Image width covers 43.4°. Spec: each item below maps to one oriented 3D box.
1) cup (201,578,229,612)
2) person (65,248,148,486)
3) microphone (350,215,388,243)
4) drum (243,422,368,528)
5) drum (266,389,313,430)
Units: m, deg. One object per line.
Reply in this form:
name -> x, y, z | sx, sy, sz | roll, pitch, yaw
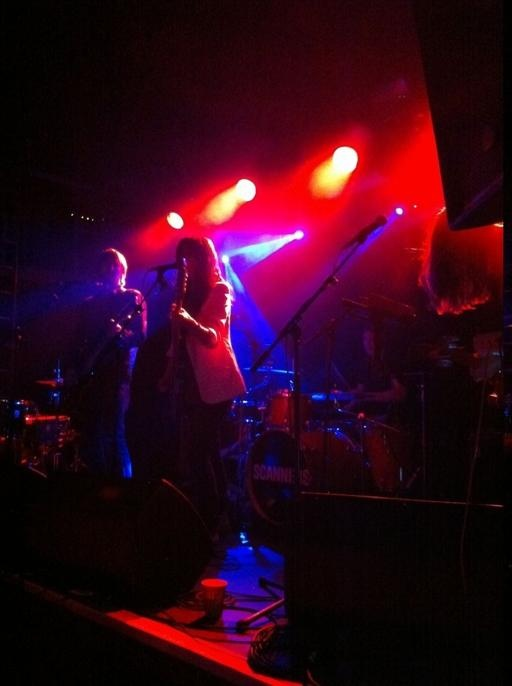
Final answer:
cup -> -0.153, 0.951, 2.444 | 0.093, 0.124, 0.107 | 0, -16, 1
person -> -0.904, 0.101, 4.037 | 0.595, 1.465, 0.439 | -4, -3, 43
microphone -> 0.517, -0.525, 2.972 | 0.144, 0.137, 0.370 | -3, -3, 9
drum -> 0.242, 0.665, 3.511 | 0.533, 0.679, 0.505 | -6, -20, -2
drum -> 0.185, 0.435, 4.390 | 0.242, 0.276, 0.240 | 17, -21, -38
